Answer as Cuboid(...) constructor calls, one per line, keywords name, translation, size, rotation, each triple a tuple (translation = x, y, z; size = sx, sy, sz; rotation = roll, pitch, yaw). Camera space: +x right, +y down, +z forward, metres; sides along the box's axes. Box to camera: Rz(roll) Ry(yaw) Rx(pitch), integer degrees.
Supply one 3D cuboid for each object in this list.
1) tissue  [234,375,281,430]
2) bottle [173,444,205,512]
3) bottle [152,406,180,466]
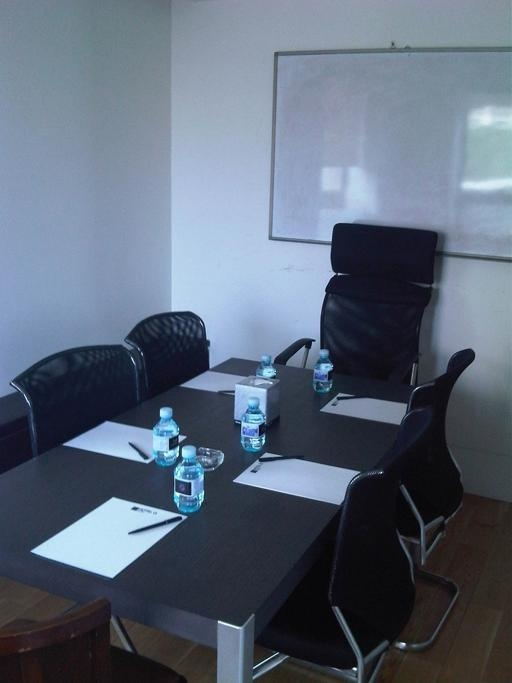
Cuboid(name="tissue ", translation=(0.012, 0.187, 1.972), size=(0.153, 0.163, 0.158), rotation=(11, 21, 29))
Cuboid(name="bottle", translation=(-0.166, 0.331, 1.396), size=(0.080, 0.142, 0.169), rotation=(0, 11, -5))
Cuboid(name="bottle", translation=(-0.269, 0.278, 1.655), size=(0.076, 0.178, 0.078), rotation=(2, 17, -1))
